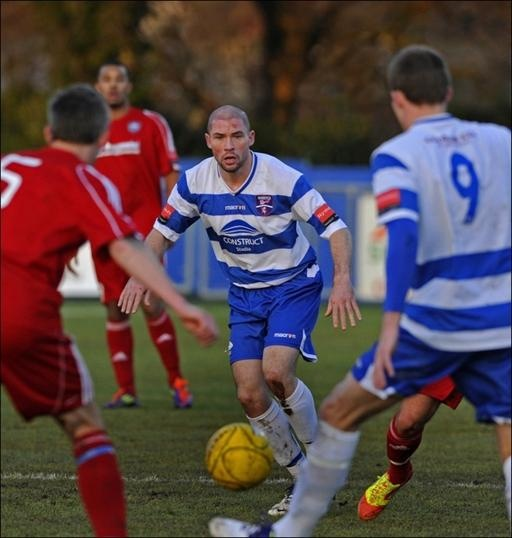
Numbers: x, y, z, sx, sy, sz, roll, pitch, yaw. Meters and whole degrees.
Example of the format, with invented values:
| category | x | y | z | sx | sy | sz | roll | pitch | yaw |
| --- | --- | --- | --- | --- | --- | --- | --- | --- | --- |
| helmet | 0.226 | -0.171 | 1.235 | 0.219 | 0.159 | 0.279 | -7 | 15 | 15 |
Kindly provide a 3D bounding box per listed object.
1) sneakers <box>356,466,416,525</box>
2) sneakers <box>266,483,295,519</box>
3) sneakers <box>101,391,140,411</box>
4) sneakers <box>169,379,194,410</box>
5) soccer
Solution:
| category | x | y | z | sx | sy | sz | roll | pitch | yaw |
| --- | --- | --- | --- | --- | --- | --- | --- | --- | --- |
| sneakers | 0.600 | 1.037 | 3.948 | 0.104 | 0.118 | 0.305 | 44 | 70 | 12 |
| sneakers | 0.104 | 1.064 | 3.947 | 0.088 | 0.069 | 0.207 | 14 | 52 | 3 |
| sneakers | -0.624 | 0.610 | 3.914 | 0.169 | 0.071 | 0.060 | 0 | -5 | 7 |
| sneakers | -0.524 | 0.863 | 6.005 | 0.090 | 0.112 | 0.251 | -4 | 12 | -11 |
| soccer | -0.064 | 0.759 | 3.446 | 0.249 | 0.251 | 0.258 | -1 | -13 | 6 |
